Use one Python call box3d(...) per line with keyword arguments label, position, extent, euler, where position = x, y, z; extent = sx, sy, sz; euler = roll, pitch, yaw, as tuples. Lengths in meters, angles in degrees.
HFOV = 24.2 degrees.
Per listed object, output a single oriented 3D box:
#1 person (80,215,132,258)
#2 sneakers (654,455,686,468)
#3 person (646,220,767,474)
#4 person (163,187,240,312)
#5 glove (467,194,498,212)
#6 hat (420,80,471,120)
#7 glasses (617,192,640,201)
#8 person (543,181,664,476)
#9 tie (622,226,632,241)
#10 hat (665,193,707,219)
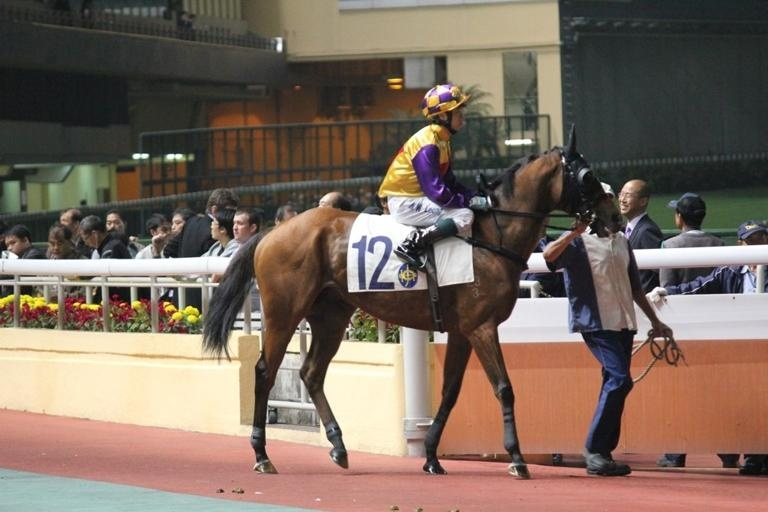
box3d(label="person", position=(-3.797, -0.247, 24.143), extent=(0.657, 0.541, 1.498), euler=(-3, 6, -10))
box3d(label="sneakers", position=(3.438, 2.427, 21.326), extent=(0.186, 0.112, 0.241), euler=(-1, -4, 32))
box3d(label="person", position=(3.929, 1.055, 21.315), extent=(1.320, 2.862, 1.046), euler=(-1, 7, 9))
box3d(label="person", position=(-2.481, 0.089, 23.852), extent=(0.934, 1.856, 0.723), euler=(16, 17, 33))
box3d(label="glove", position=(1.132, -0.604, 20.599), extent=(0.225, 0.126, 0.287), euler=(3, -1, -6))
box3d(label="hat", position=(0.700, -1.752, 20.710), extent=(0.518, 0.266, 0.371), euler=(-17, 19, 14))
box3d(label="glasses", position=(2.956, -0.712, 21.577), extent=(0.167, 0.065, 0.123), euler=(2, 5, -31))
box3d(label="person", position=(2.511, 0.828, 20.607), extent=(1.255, 3.308, 0.683), euler=(-1, 7, 7))
box3d(label="tie", position=(2.923, -0.276, 21.595), extent=(0.044, 0.149, 0.143), euler=(22, -18, -32))
box3d(label="hat", position=(3.678, -0.621, 21.799), extent=(0.272, 0.193, 0.388), euler=(-9, 25, -27))
